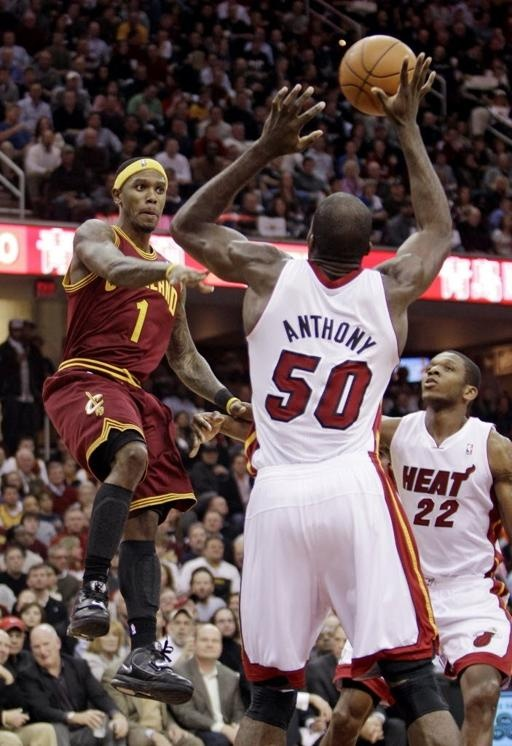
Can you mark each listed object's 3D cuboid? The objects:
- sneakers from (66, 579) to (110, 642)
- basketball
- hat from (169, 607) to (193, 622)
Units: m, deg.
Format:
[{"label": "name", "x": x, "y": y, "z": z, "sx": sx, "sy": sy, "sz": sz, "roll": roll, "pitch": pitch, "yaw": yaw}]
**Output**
[{"label": "sneakers", "x": -0.611, "y": 0.891, "z": 3.294, "sx": 0.139, "sy": 0.270, "sz": 0.259, "roll": 5, "pitch": 9, "yaw": -10}, {"label": "basketball", "x": 0.605, "y": -1.492, "z": 4.597, "sx": 0.374, "sy": 0.374, "sz": 0.329, "roll": 16, "pitch": 32, "yaw": -3}, {"label": "hat", "x": -0.633, "y": 1.987, "z": 7.440, "sx": 0.176, "sy": 0.130, "sz": 0.190, "roll": 4, "pitch": 8, "yaw": -11}]
